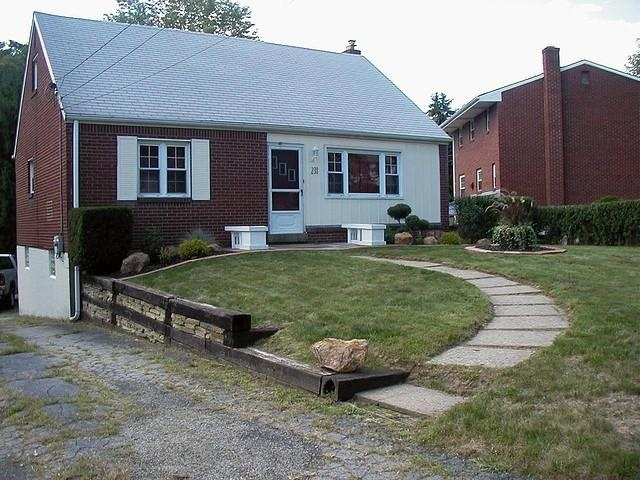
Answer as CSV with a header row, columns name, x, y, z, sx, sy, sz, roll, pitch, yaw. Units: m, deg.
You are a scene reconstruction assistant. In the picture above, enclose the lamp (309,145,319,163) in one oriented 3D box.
name,x,y,z,sx,sy,sz,roll,pitch,yaw
lamp,-0.187,-2.892,16.722,0.312,0.490,0.145,-6,11,-5
